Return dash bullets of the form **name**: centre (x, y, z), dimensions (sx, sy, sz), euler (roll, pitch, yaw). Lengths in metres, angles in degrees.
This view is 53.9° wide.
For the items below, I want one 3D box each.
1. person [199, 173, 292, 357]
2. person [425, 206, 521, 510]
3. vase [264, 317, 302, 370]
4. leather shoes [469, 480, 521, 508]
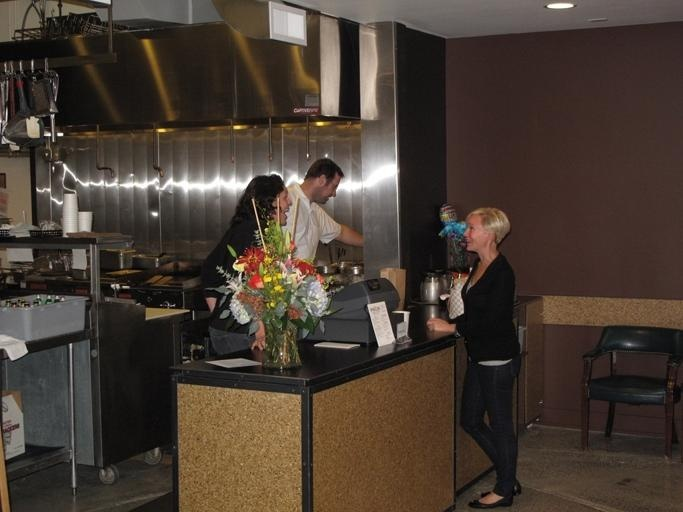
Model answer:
- **person**: centre (-0.569, 0.089, 4.107), dimensions (0.546, 1.165, 0.879), euler (-1, 6, -12)
- **person**: centre (0.940, 0.684, 4.448), dimensions (0.515, 1.961, 0.422), euler (1, 6, 14)
- **vase**: centre (-0.300, 0.446, 3.403), dimensions (0.233, 0.297, 0.222), euler (-1, -5, 6)
- **leather shoes**: centre (1.023, 1.616, 4.489), dimensions (0.314, 0.127, 0.179), euler (0, 1, 1)
